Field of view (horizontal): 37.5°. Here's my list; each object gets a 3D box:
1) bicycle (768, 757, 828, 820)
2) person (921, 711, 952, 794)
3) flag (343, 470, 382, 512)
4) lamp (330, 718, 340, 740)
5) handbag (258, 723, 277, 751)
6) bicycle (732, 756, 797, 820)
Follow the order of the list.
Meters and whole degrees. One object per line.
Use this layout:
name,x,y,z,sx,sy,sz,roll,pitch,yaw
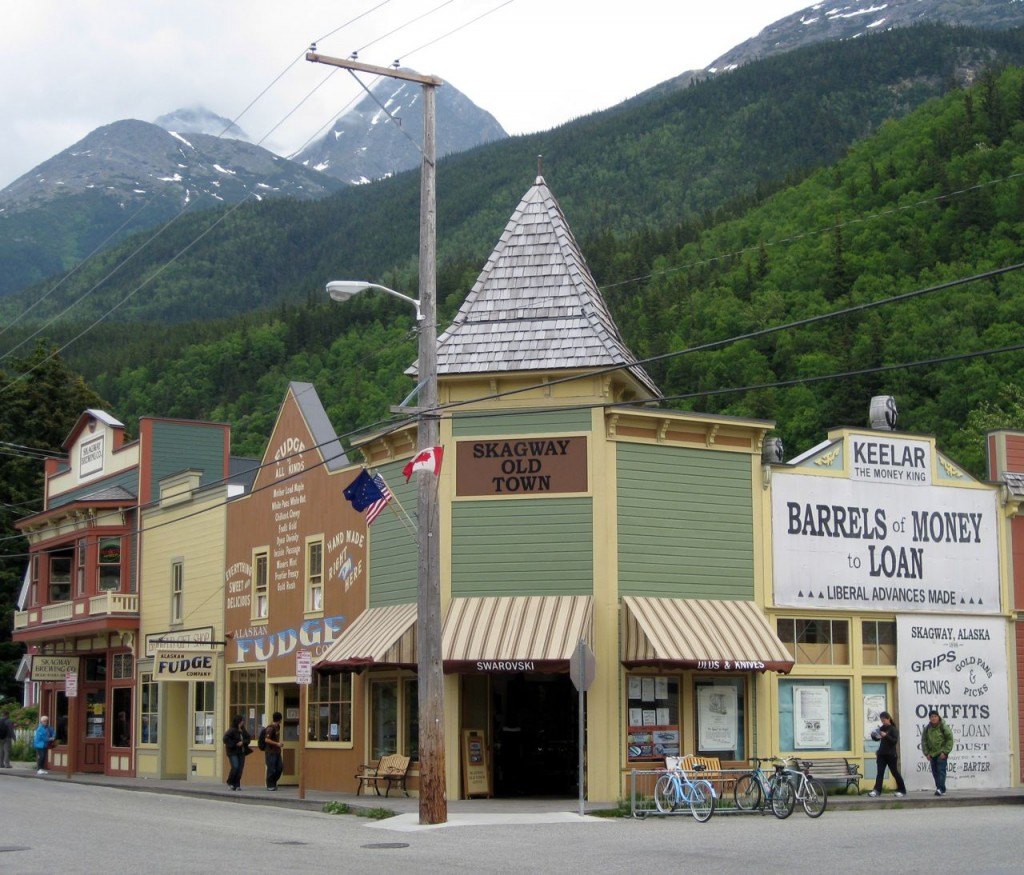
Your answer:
bicycle,6.034,7.429,32.069,0.707,1.074,1.642,-2,-19,2
person,10.174,7.564,36.058,0.691,1.958,1.286,-5,-14,16
flag,-3.499,1.288,35.725,0.655,0.761,0.106,-50,-23,10
lamp,-4.528,7.521,38.515,0.316,0.544,0.328,-1,-5,-4
handbag,-6.252,7.745,38.901,0.555,0.696,0.455,3,1,31
bicycle,5.622,7.649,32.851,0.753,1.082,1.656,5,-11,-26
